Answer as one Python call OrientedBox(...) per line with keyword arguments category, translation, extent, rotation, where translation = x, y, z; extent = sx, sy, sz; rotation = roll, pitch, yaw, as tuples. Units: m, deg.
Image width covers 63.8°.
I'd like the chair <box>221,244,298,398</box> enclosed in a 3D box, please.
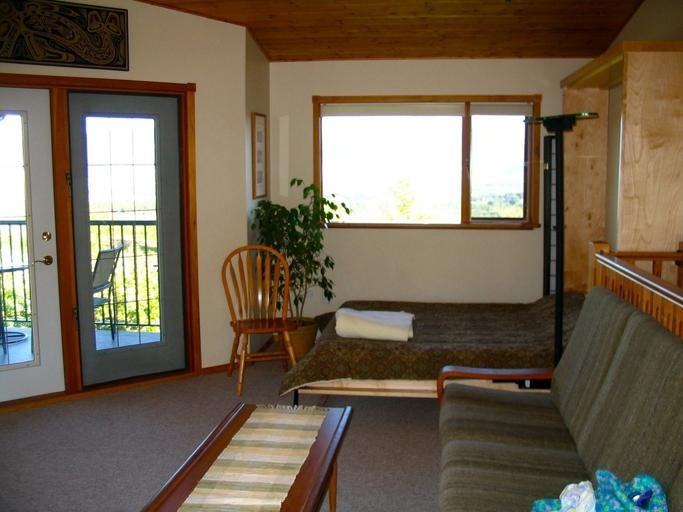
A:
OrientedBox(category="chair", translation=(-0.674, 0.517, 4.584), extent=(0.598, 1.094, 0.555), rotation=(-5, 7, -29))
